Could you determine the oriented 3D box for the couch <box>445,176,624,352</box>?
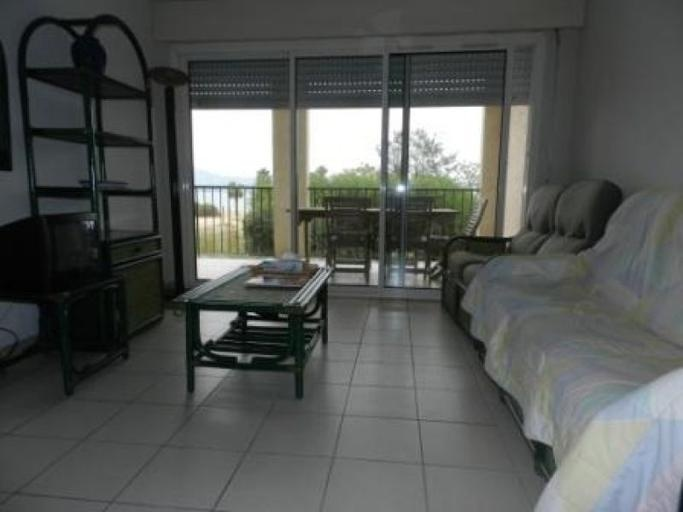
[{"bbox_3d":[1.369,0.014,4.191,1.156,1.414,1.504,15,5,9],"label":"couch"}]

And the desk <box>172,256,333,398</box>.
[{"bbox_3d":[-0.519,0.448,3.414,0.794,0.757,0.945,1,11,9],"label":"desk"}]
